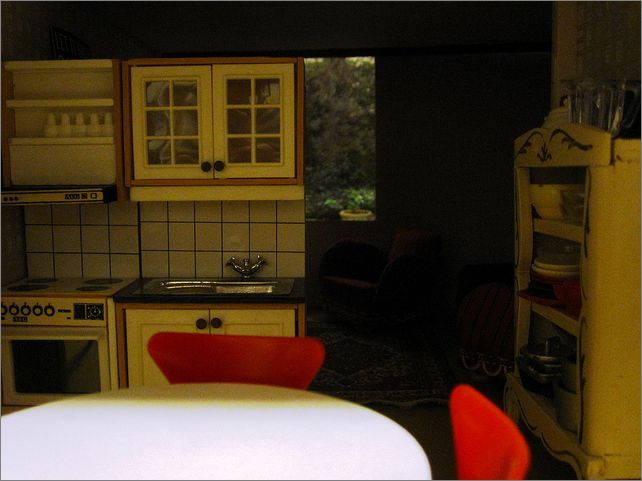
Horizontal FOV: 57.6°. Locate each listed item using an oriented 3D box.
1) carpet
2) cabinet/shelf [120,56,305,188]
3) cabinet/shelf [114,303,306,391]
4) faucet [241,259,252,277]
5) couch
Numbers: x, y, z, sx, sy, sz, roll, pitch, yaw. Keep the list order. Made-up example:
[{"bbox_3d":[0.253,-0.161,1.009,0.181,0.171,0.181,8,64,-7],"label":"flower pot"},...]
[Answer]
[{"bbox_3d":[0.298,0.920,4.841,1.390,0.024,2.139,3,7,9],"label":"carpet"},{"bbox_3d":[-0.565,-0.649,3.350,0.957,0.662,0.563,0,3,6],"label":"cabinet/shelf"},{"bbox_3d":[-0.487,0.456,2.647,0.434,0.415,0.167,-1,1,0],"label":"cabinet/shelf"},{"bbox_3d":[-0.434,0.155,3.386,0.087,0.135,0.084,0,6,-7],"label":"faucet"},{"bbox_3d":[0.591,0.332,5.563,1.014,0.871,1.034,3,4,-18],"label":"couch"}]
